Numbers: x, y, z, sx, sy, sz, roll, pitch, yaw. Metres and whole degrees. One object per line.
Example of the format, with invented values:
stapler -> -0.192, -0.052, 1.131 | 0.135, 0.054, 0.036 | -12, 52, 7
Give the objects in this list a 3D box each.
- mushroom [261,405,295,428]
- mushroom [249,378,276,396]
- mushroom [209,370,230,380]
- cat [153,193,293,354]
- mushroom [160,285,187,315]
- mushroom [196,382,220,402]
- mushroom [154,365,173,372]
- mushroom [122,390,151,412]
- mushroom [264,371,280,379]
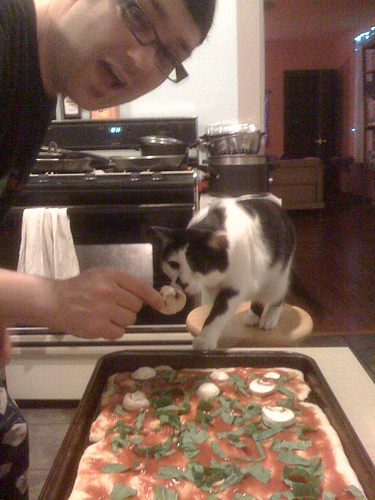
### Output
mushroom -> 0.154, 0.282, 0.685 | 0.055, 0.018, 0.045 | -1, 12, 10
mushroom -> 0.139, 0.258, 0.752 | 0.046, 0.021, 0.032 | 1, 13, 23
mushroom -> 0.062, 0.241, 0.780 | 0.022, 0.006, 0.022 | -2, 11, -5
cat -> 0.099, 0.037, 0.751 | 0.145, 0.243, 0.354 | 8, 18, 41
mushroom -> -0.023, 0.081, 0.644 | 0.040, 0.037, 0.054 | -4, 12, -3
mushroom -> 0.040, 0.262, 0.756 | 0.044, 0.025, 0.031 | -12, 14, -36
mushroom -> -0.047, 0.232, 0.796 | 0.034, 0.011, 0.006 | -1, 12, 13
mushroom -> -0.093, 0.273, 0.736 | 0.031, 0.012, 0.036 | 14, 18, 36
mushroom -> 0.162, 0.240, 0.777 | 0.029, 0.005, 0.019 | -1, 12, 10
